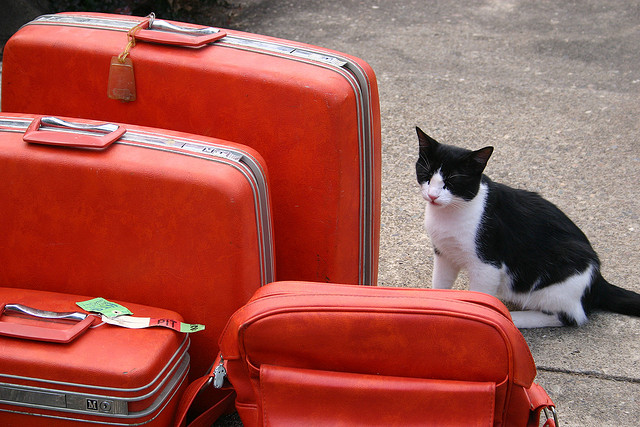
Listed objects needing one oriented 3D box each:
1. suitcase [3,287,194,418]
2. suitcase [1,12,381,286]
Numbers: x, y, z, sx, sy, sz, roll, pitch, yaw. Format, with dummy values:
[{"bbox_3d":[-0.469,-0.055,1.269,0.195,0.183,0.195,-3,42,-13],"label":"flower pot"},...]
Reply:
[{"bbox_3d":[-0.705,0.470,2.457,0.632,0.485,0.342,8,81,0],"label":"suitcase"},{"bbox_3d":[-0.447,-0.192,2.397,0.933,0.833,0.315,4,19,10],"label":"suitcase"}]
